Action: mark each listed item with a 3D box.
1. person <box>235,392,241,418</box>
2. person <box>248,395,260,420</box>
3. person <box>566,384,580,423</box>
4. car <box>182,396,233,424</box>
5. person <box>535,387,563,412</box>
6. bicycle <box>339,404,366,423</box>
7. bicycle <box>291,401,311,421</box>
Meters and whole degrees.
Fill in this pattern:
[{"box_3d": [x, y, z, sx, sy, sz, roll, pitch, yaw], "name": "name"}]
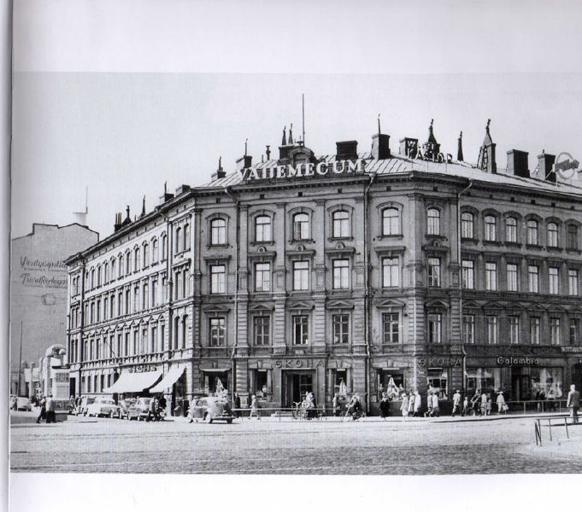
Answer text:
[{"box_3d": [-1.731, 4.859, 44.468, 0.225, 0.955, 0.390, 2, -16, -8], "name": "person"}, {"box_3d": [-1.177, 4.849, 44.540, 0.331, 0.834, 0.721, 0, -11, -2], "name": "person"}, {"box_3d": [9.109, 4.796, 44.331, 0.391, 1.327, 1.134, -2, -11, 12], "name": "person"}, {"box_3d": [-2.573, 4.936, 44.318, 0.851, 0.935, 1.834, 11, -16, -43], "name": "car"}, {"box_3d": [8.459, 4.718, 44.980, 0.882, 0.812, 0.545, 0, -11, 3], "name": "person"}, {"box_3d": [2.024, 4.963, 43.988, 0.654, 0.695, 1.012, -5, -13, 23], "name": "bicycle"}, {"box_3d": [0.281, 4.963, 44.040, 0.347, 0.758, 0.561, -4, -22, 17], "name": "bicycle"}]
